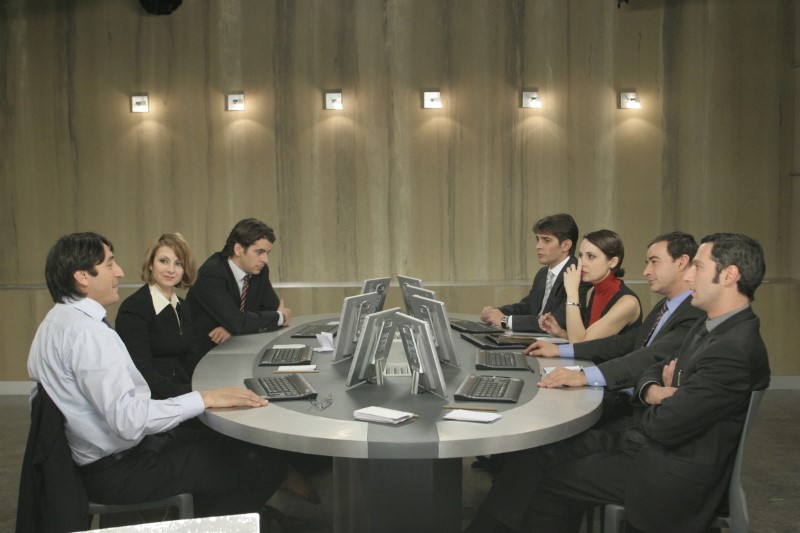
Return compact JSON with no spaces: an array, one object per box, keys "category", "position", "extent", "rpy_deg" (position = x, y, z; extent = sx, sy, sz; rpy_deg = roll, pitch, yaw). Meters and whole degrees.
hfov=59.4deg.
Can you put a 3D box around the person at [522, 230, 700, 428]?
[{"category":"person","position":[1.222,0.537,4.548],"extent":[0.722,1.334,0.450],"rpy_deg":[-17,13,-12]}]

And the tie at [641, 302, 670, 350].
[{"category":"tie","position":[1.703,0.366,4.681],"extent":[0.058,0.563,0.080],"rpy_deg":[19,-18,-4]}]

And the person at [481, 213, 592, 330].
[{"category":"person","position":[1.133,0.051,5.836],"extent":[0.837,0.936,0.779],"rpy_deg":[-7,10,-44]}]

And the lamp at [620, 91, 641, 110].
[{"category":"lamp","position":[2.434,-1.758,7.417],"extent":[0.189,0.195,0.047],"rpy_deg":[-1,8,-1]}]

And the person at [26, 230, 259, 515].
[{"category":"person","position":[-1.551,0.924,4.365],"extent":[1.235,2.292,0.912],"rpy_deg":[-11,10,-44]}]

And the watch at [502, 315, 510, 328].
[{"category":"watch","position":[0.846,0.441,5.625],"extent":[0.054,0.087,0.089],"rpy_deg":[2,1,15]}]

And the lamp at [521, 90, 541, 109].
[{"category":"lamp","position":[1.389,-1.772,7.475],"extent":[0.223,0.197,0.047],"rpy_deg":[-4,3,-11]}]

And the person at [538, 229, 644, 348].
[{"category":"person","position":[1.519,0.164,5.519],"extent":[0.737,1.161,0.777],"rpy_deg":[3,0,5]}]
